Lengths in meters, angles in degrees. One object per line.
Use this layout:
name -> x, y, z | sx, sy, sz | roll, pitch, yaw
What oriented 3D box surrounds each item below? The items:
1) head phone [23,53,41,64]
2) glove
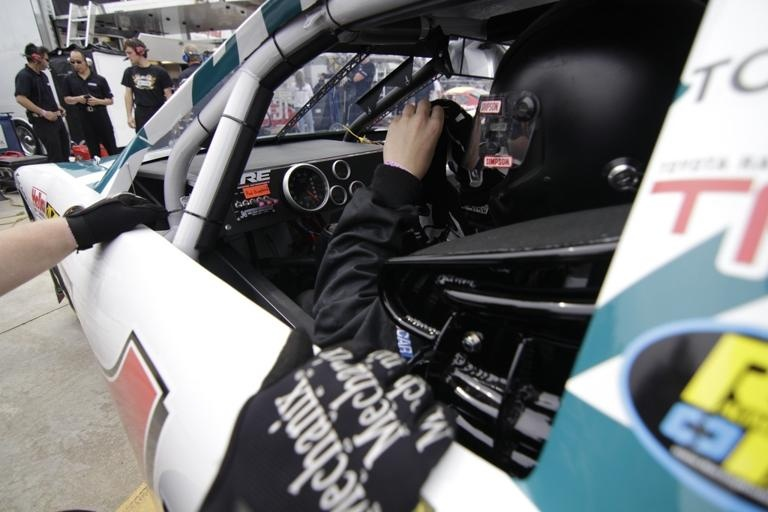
head phone -> -3.609, -2.038, 4.873 | 0.088, 0.074, 0.125 | -5, 13, -8
glove -> -0.690, -0.107, 1.242 | 0.226, 0.084, 0.143 | -32, 80, -35
